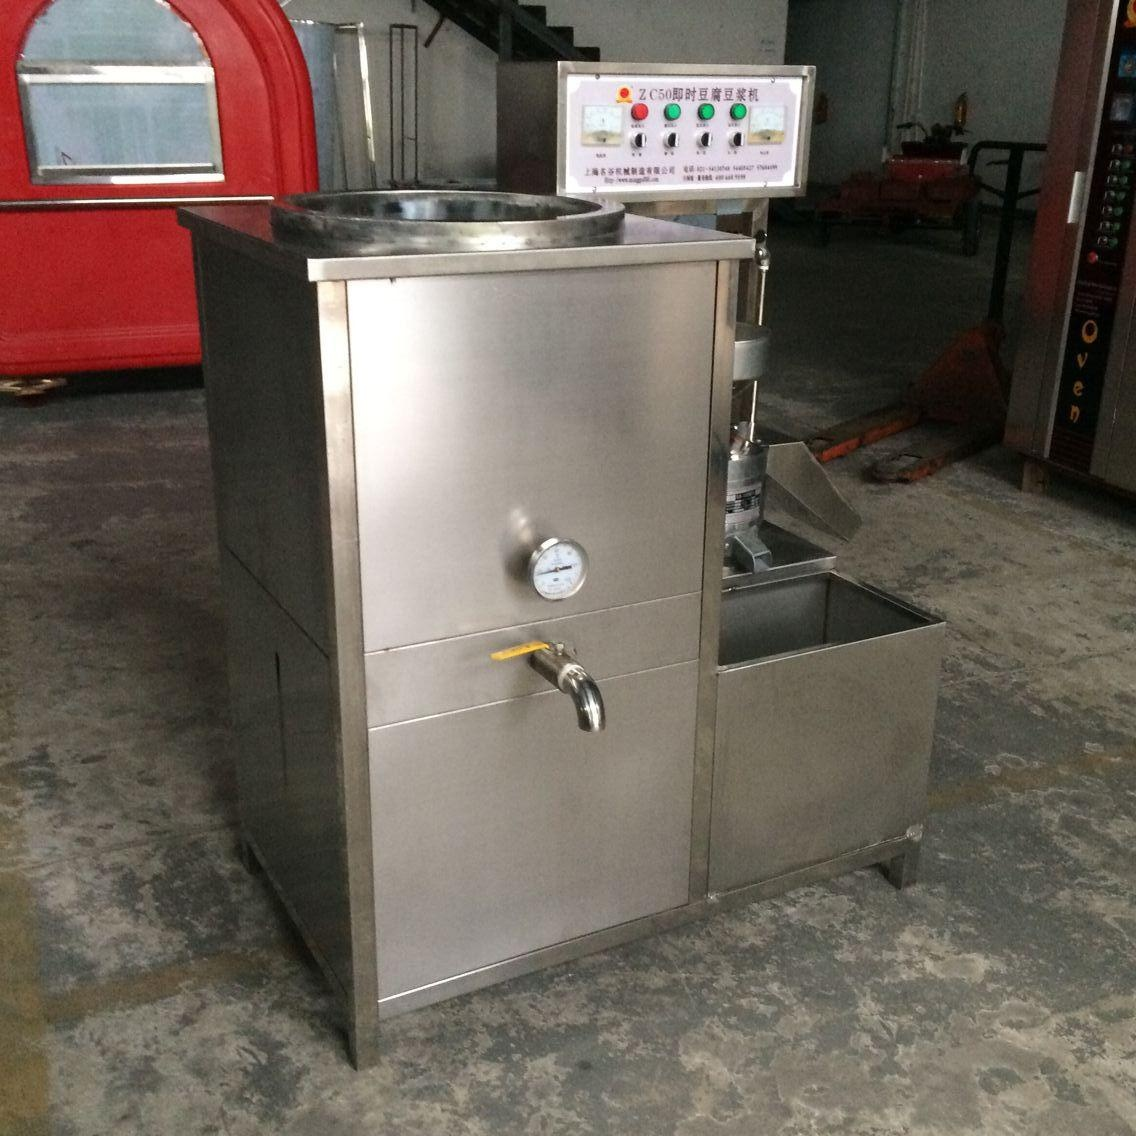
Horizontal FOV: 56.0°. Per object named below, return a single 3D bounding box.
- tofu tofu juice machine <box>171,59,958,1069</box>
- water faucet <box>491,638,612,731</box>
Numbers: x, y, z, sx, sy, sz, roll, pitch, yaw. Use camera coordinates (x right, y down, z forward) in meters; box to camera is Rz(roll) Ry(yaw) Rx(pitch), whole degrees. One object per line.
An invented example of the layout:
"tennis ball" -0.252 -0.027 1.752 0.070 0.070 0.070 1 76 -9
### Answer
"tofu tofu juice machine" 0.006 -0.129 1.637 0.990 1.305 0.626 -13 24 -35
"water faucet" -0.018 0.133 1.332 0.145 0.053 0.089 29 35 36
